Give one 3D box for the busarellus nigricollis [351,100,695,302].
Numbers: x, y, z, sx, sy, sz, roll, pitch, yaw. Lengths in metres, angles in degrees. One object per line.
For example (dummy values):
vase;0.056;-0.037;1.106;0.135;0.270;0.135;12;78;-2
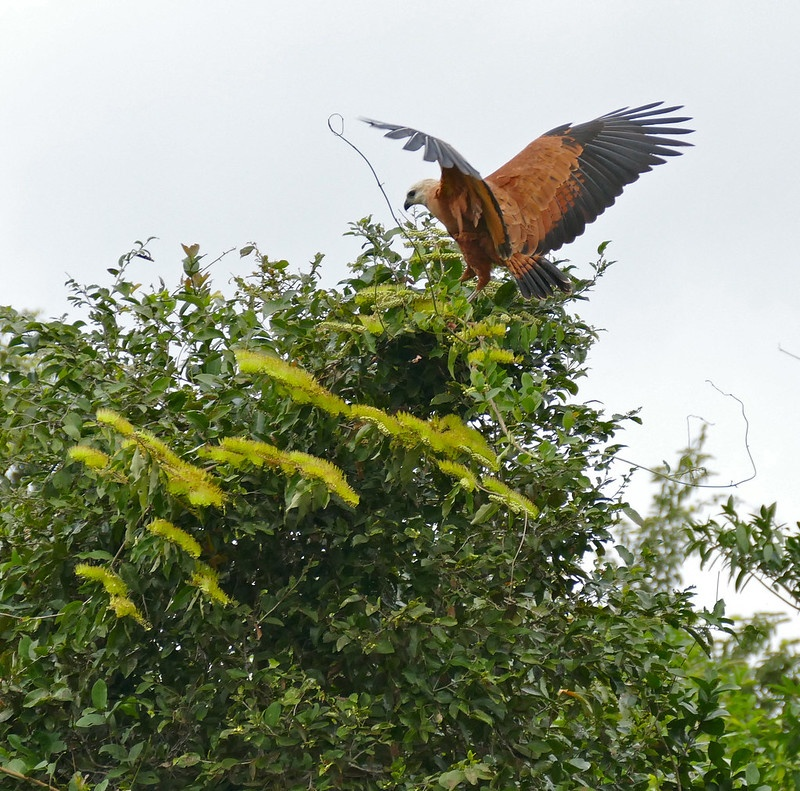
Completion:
busarellus nigricollis;0.241;-0.531;4.475;1.123;0.656;0.603;8;-88;48
